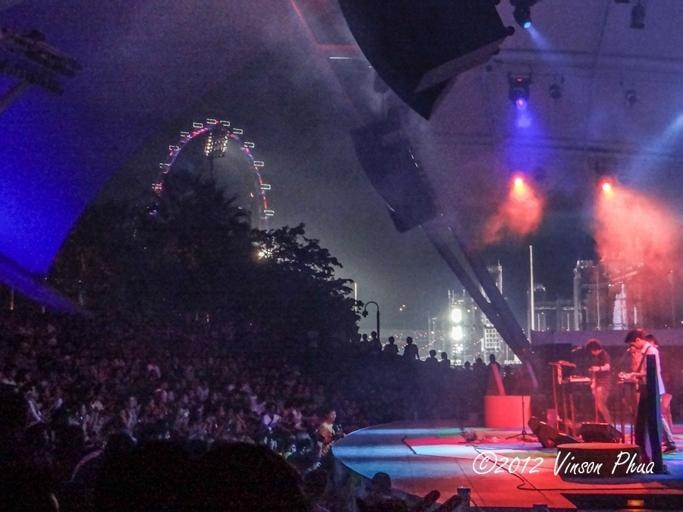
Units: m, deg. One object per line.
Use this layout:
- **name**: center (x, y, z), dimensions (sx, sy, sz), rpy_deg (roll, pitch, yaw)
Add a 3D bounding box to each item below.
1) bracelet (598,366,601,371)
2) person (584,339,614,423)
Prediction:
- **bracelet**: center (4.566, 2.007, 12.625), dimensions (0.055, 0.076, 0.022), rpy_deg (3, -15, -26)
- **person**: center (4.658, 2.273, 12.924), dimensions (0.404, 1.463, 1.280), rpy_deg (-1, -15, 19)
